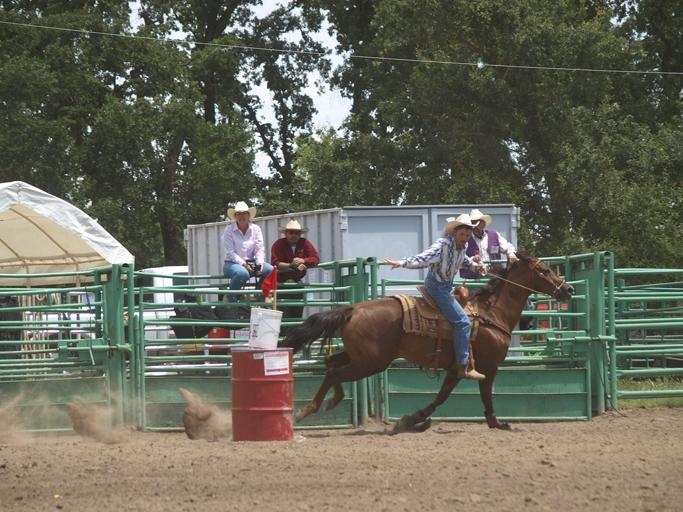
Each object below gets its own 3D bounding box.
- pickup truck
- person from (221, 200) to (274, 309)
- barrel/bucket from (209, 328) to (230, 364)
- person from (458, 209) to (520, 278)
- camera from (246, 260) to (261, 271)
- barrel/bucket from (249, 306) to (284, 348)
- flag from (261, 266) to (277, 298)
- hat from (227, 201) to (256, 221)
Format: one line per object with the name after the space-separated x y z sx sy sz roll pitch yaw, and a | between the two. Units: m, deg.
-6.260 1.235 35.308 3.478 1.956 2.485 2 -10 -19 | pickup truck
-2.256 -0.159 32.754 1.077 2.319 1.014 -1 -2 -5 | person
-2.839 2.043 32.282 0.501 0.810 2.248 -1 -3 -6 | barrel/bucket
3.416 -0.286 32.531 1.369 2.008 1.008 -4 -9 -8 | person
-2.052 0.203 32.483 0.214 0.138 0.293 19 -36 -16 | camera
-1.694 1.565 30.820 0.763 0.845 0.801 6 -3 0 | barrel/bucket
-1.613 0.552 30.932 0.319 0.686 0.654 -1 -3 -6 | flag
-2.415 -1.241 33.266 0.663 0.313 0.762 -1 -15 -4 | hat
